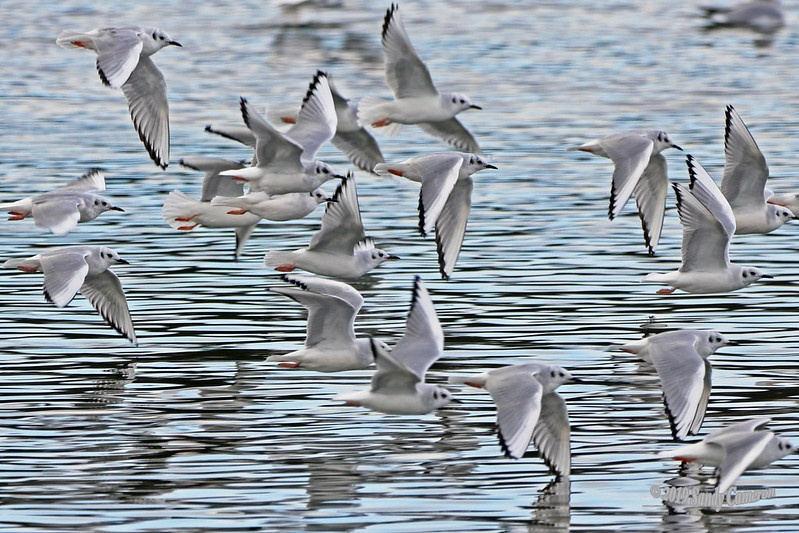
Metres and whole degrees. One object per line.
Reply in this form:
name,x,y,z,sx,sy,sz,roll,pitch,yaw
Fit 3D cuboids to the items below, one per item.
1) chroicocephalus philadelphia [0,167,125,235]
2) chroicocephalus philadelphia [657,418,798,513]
chroicocephalus philadelphia,-5.169,-0.909,25.077,1.721,0.224,1.684,7,12,-3
chroicocephalus philadelphia,4.155,2.549,21.394,1.537,1.283,1.080,-34,55,-24
